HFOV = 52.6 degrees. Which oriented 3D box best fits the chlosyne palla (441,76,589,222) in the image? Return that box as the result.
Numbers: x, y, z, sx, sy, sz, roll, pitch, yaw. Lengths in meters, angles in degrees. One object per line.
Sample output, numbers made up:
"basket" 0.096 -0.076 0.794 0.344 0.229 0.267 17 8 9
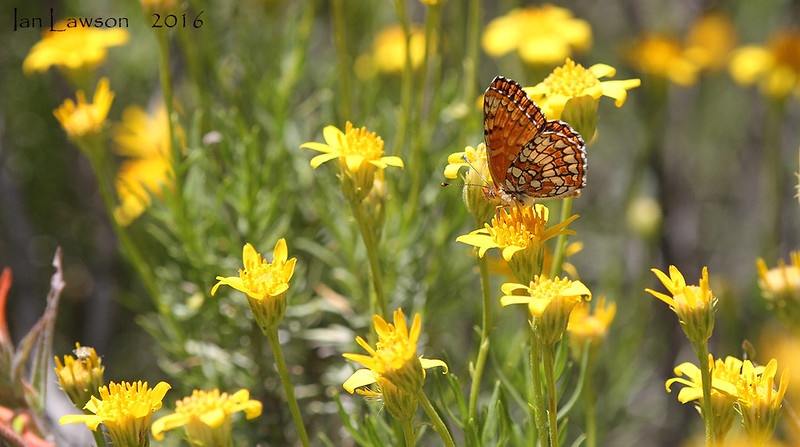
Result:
"chlosyne palla" 0.269 -0.166 1.781 0.266 0.295 0.193 -2 18 -1
